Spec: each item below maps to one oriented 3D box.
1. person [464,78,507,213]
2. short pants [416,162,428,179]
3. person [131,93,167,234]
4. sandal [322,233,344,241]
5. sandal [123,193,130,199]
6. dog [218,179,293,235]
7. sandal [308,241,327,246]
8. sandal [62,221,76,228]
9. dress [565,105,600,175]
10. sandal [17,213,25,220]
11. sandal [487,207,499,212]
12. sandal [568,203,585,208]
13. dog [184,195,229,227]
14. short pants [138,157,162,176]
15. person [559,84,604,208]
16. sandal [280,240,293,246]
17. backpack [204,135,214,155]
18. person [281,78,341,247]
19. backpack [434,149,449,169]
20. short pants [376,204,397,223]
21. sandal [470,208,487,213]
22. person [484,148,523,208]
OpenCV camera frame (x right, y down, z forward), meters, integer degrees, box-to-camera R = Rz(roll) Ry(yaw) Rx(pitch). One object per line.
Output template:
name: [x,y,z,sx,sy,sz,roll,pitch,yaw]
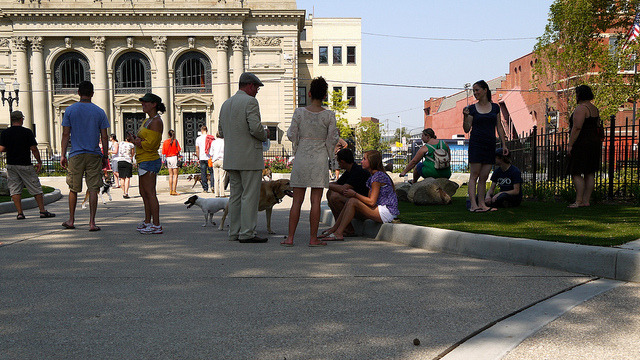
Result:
person: [4.238,-0.859,16.042,0.988,3.366,1.169,0,4,13]
short pants: [3.003,-0.323,18.255,0.252,0.560,0.331,-19,28,14]
person: [-4.302,-0.402,15.597,1.294,3.407,1.139,2,-2,-27]
sandal: [0.373,1.357,14.844,0.429,0.140,0.138,3,-4,-3]
sandal: [-7.078,0.561,22.802,0.152,0.189,0.306,-1,4,-15]
dog: [-1.538,0.623,15.690,2.203,1.292,0.659,1,0,27]
sandal: [-0.049,1.459,14.306,0.325,0.077,0.118,-1,-1,-6]
sandal: [-6.440,1.151,15.958,0.294,0.120,0.255,-1,4,-9]
dress: [6.884,-1.059,16.149,0.790,1.812,0.487,1,4,17]
sandal: [-8.339,1.007,17.362,0.182,0.118,0.457,0,-1,-27]
sandal: [4.515,0.748,16.256,0.364,0.079,0.123,1,2,-3]
sandal: [6.779,0.655,16.411,0.398,0.119,0.181,1,4,20]
dog: [-2.852,0.799,16.407,1.439,0.776,0.439,-1,-5,8]
short pants: [-4.187,-0.354,15.305,0.583,0.373,0.402,1,9,4]
person: [6.919,-0.887,16.292,0.971,3.210,0.626,-3,5,-36]
sandal: [-0.750,1.447,14.273,0.305,0.073,0.115,6,5,27]
backpack: [-4.210,-1.387,23.553,0.256,0.657,0.452,4,5,-35]
person: [-0.191,-0.434,14.351,1.144,3.892,0.597,0,4,0]
backpack: [3.499,-0.619,17.823,0.419,0.566,0.267,0,4,5]
short pants: [1.604,0.794,14.874,0.421,0.428,0.071,-1,4,-13]
sandal: [4.136,0.771,16.106,0.333,0.069,0.114,-2,0,3]
person: [4.907,-0.084,16.909,1.186,1.570,1.159,-2,3,28]
